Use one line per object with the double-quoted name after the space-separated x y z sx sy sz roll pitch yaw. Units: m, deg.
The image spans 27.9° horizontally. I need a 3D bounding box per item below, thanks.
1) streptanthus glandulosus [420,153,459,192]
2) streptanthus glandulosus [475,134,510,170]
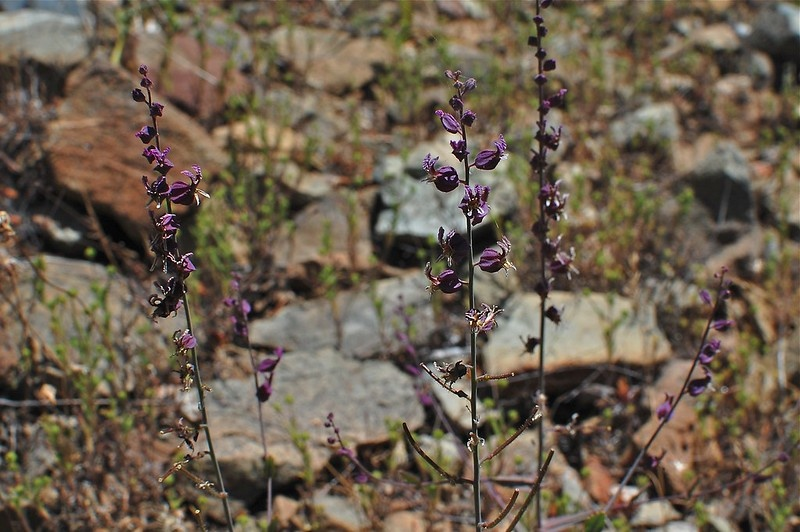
0.226 -0.598 10.147 0.233 0.146 0.267 -24 22 -39 "streptanthus glandulosus"
0.571 -0.724 10.217 0.240 0.141 0.122 -34 60 23 "streptanthus glandulosus"
